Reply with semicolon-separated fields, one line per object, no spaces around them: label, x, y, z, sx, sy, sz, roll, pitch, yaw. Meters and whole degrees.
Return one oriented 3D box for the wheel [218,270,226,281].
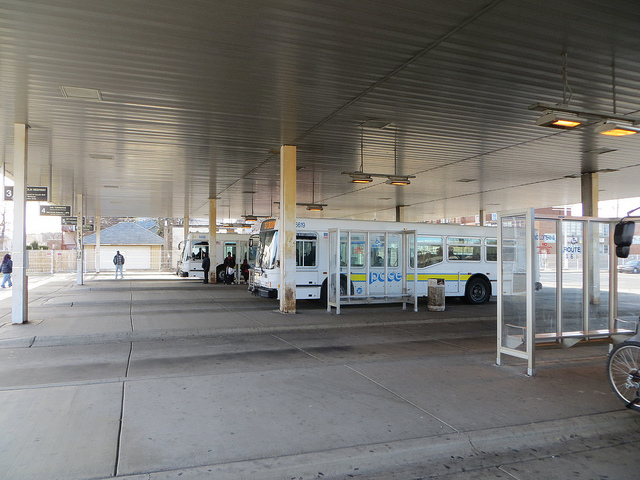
wheel;-6.456;2.359;31.055;0.321;0.764;0.948;0;2;-23

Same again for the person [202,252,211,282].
person;-7.339;1.883;30.650;0.417;1.742;0.802;1;2;-10

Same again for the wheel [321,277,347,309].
wheel;0.516;2.007;17.717;0.910;1.416;2.316;1;2;-1

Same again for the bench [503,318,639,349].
bench;5.060;1.887;9.320;2.572;0.642;0.880;1;2;-5

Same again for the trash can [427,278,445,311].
trash can;4.421;2.115;17.979;0.560;1.109;0.659;2;2;5

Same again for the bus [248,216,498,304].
bus;2.853;1.098;20.257;12.827;2.965;2.958;3;-5;-29

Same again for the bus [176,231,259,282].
bus;-6.280;1.196;32.851;7.472;2.387;2.199;2;0;-34

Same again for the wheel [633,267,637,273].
wheel;6.010;0.581;9.007;0.055;0.093;0.215;2;2;29

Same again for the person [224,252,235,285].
person;-5.788;1.844;30.147;0.636;2.004;1.015;1;2;-9

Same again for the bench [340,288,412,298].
bench;2.040;1.958;17.232;3.056;0.259;0.319;0;2;-26

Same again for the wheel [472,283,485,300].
wheel;6.858;2.225;20.495;0.913;0.696;0.257;-2;-1;-19
